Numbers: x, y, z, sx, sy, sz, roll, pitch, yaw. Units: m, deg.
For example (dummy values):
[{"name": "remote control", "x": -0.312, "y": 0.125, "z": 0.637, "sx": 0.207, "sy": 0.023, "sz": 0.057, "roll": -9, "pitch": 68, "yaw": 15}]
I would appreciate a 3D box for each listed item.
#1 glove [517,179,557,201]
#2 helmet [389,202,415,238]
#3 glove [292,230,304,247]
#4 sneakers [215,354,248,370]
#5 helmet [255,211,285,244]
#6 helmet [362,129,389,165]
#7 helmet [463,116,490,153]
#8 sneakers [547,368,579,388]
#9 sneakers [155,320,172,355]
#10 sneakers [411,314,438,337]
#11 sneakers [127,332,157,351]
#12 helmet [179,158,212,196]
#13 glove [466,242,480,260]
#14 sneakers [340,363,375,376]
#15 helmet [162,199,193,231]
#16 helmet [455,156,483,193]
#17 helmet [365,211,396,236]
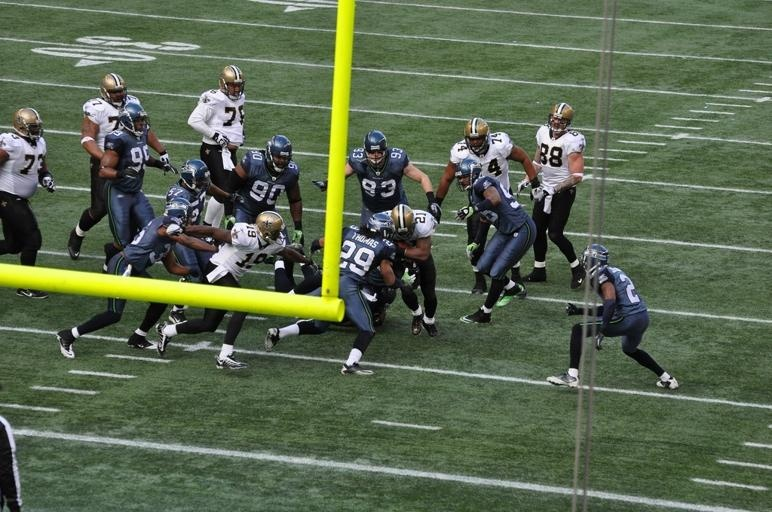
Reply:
[{"name": "glove", "x": 1.657, "y": -0.744, "z": 13.362, "sx": 0.393, "sy": 0.092, "sz": 0.258, "roll": 11, "pitch": 1, "yaw": 21}, {"name": "helmet", "x": 0.175, "y": -0.355, "z": 12.041, "sx": 0.306, "sy": 0.265, "sz": 0.287, "roll": -5, "pitch": -3, "yaw": 4}, {"name": "glove", "x": -0.935, "y": -0.191, "z": 12.837, "sx": 0.167, "sy": 0.174, "sz": 0.216, "roll": 1, "pitch": -6, "yaw": -1}, {"name": "sneakers", "x": -1.523, "y": 1.044, "z": 11.736, "sx": 0.374, "sy": 0.116, "sz": 0.103, "roll": 2, "pitch": 35, "yaw": -4}, {"name": "helmet", "x": -1.143, "y": -0.286, "z": 11.793, "sx": 0.274, "sy": 0.298, "sz": 0.270, "roll": 3, "pitch": 11, "yaw": 1}, {"name": "helmet", "x": -0.101, "y": -1.194, "z": 12.977, "sx": 0.347, "sy": 0.316, "sz": 0.343, "roll": -3, "pitch": 54, "yaw": 4}, {"name": "helmet", "x": 1.017, "y": -1.310, "z": 13.251, "sx": 0.263, "sy": 0.394, "sz": 0.291, "roll": 4, "pitch": 11, "yaw": 4}, {"name": "sneakers", "x": 1.754, "y": 1.188, "z": 11.583, "sx": 0.397, "sy": 0.145, "sz": 0.133, "roll": 2, "pitch": -4, "yaw": 22}, {"name": "sneakers", "x": -2.220, "y": 0.805, "z": 11.911, "sx": 0.222, "sy": 0.339, "sz": 0.138, "roll": 6, "pitch": 23, "yaw": 9}, {"name": "sneakers", "x": 0.389, "y": 0.738, "z": 12.471, "sx": 0.376, "sy": 0.128, "sz": 0.161, "roll": 40, "pitch": 5, "yaw": 18}, {"name": "sneakers", "x": -2.450, "y": 0.865, "z": 12.040, "sx": 0.374, "sy": 0.128, "sz": 0.126, "roll": 10, "pitch": 31, "yaw": -12}, {"name": "helmet", "x": -1.984, "y": -0.823, "z": 12.439, "sx": 0.305, "sy": 0.331, "sz": 0.263, "roll": 1, "pitch": 11, "yaw": -8}, {"name": "glove", "x": 0.924, "y": -0.061, "z": 13.177, "sx": 0.209, "sy": 0.133, "sz": 0.100, "roll": -35, "pitch": 62, "yaw": -24}, {"name": "sneakers", "x": -0.284, "y": 1.106, "z": 11.692, "sx": 0.385, "sy": 0.105, "sz": 0.113, "roll": 1, "pitch": 12, "yaw": -4}, {"name": "helmet", "x": -2.074, "y": -0.432, "z": 11.972, "sx": 0.266, "sy": 0.258, "sz": 0.369, "roll": 0, "pitch": 10, "yaw": -10}, {"name": "helmet", "x": 0.893, "y": -0.868, "z": 12.834, "sx": 0.279, "sy": 0.333, "sz": 0.451, "roll": 3, "pitch": 10, "yaw": 4}, {"name": "helmet", "x": -0.075, "y": -0.325, "z": 12.052, "sx": 0.361, "sy": 0.207, "sz": 0.243, "roll": -9, "pitch": 17, "yaw": -23}]
